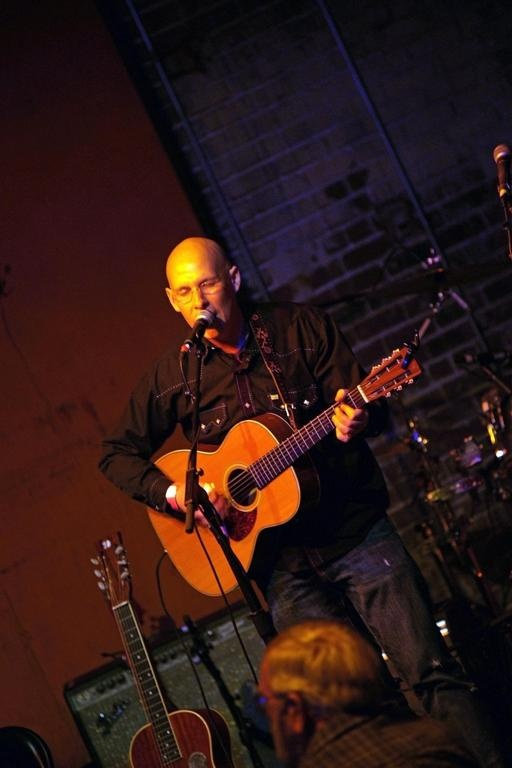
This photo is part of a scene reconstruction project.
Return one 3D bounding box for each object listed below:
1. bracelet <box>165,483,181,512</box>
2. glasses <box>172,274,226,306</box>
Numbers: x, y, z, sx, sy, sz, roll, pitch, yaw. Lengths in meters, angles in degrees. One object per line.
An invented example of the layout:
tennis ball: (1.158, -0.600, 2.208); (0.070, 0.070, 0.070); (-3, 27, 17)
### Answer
bracelet: (-0.318, 0.438, 2.720); (0.076, 0.089, 0.060); (-12, -22, 36)
glasses: (-0.215, -0.353, 2.689); (0.126, 0.033, 0.129); (-20, -11, 5)
